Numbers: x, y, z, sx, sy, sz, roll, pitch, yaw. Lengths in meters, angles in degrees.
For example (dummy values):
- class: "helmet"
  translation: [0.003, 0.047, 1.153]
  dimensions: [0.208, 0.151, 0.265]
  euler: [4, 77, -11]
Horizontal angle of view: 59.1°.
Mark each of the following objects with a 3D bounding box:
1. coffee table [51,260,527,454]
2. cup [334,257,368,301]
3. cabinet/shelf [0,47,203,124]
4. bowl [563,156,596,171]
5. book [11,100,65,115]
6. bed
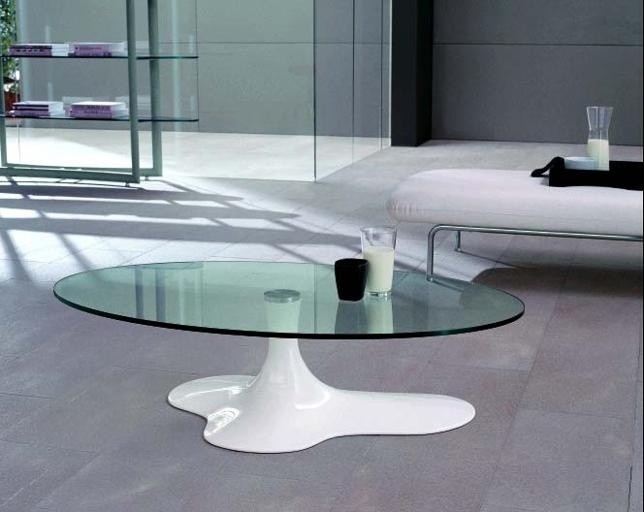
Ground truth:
- class: "coffee table"
  translation: [-0.112, 0.292, 1.637]
  dimensions: [1.274, 0.433, 0.690]
  euler: [4, 11, 17]
- class: "cup"
  translation: [0.076, 0.065, 1.625]
  dimensions: [0.110, 0.131, 0.111]
  euler: [-1, 9, 0]
- class: "cabinet/shelf"
  translation: [-2.157, -1.622, 5.335]
  dimensions: [1.999, 0.692, 0.363]
  euler: [3, 11, 10]
- class: "bowl"
  translation: [1.373, -0.488, 3.023]
  dimensions: [0.104, 0.045, 0.102]
  euler: [0, 7, 0]
- class: "book"
  translation: [-2.685, -1.387, 5.358]
  dimensions: [0.260, 0.060, 0.257]
  euler: [0, 8, 3]
- class: "bed"
  translation: [0.912, -0.171, 2.908]
  dimensions: [1.239, 0.367, 0.631]
  euler: [2, 20, 8]
